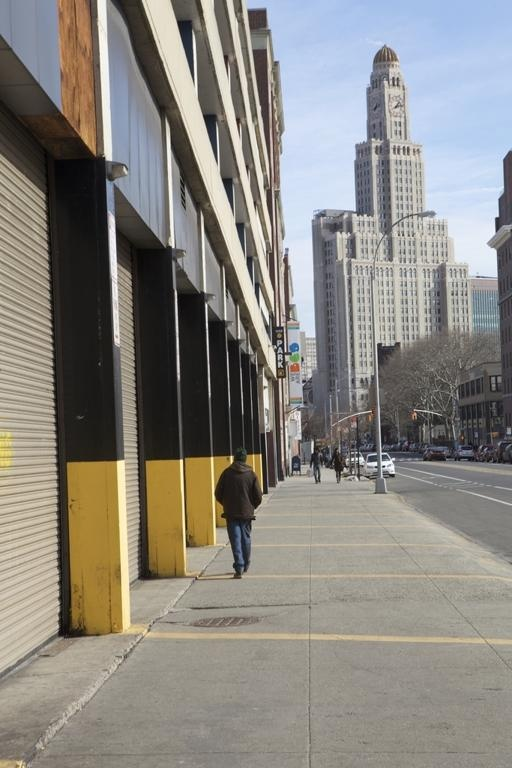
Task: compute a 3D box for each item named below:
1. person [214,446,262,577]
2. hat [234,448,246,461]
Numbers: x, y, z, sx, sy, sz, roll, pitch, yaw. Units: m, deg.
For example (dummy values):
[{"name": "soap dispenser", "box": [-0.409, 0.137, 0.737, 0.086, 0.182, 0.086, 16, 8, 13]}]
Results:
[{"name": "person", "box": [-0.229, 1.642, 10.783, 0.581, 1.614, 1.240, -3, -5, -2]}, {"name": "hat", "box": [-0.209, 0.890, 10.817, 0.109, 0.199, 0.167, 10, -25, 8]}]
